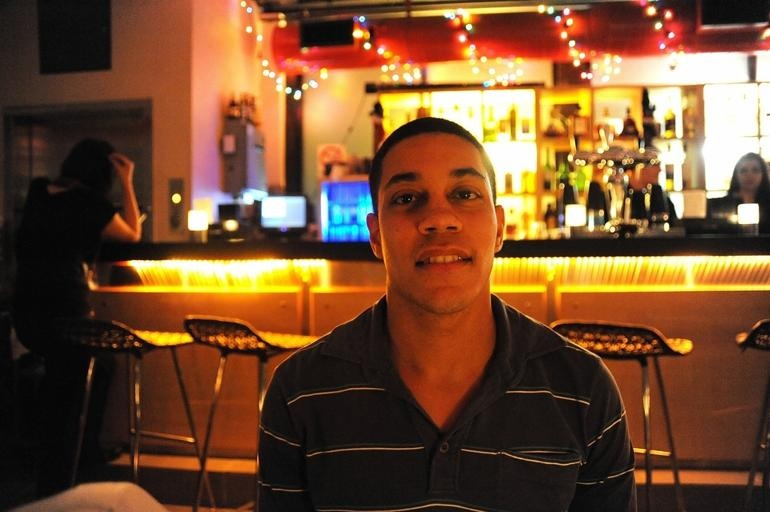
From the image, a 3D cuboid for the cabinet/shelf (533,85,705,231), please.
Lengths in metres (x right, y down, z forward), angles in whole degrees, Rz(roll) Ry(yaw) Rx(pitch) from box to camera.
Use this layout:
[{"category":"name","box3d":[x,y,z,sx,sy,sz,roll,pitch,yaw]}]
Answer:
[{"category":"cabinet/shelf","box3d":[1.831,-0.749,7.631,1.188,1.194,0.371,-1,-5,10]}]

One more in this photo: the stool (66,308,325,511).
[{"category":"stool","box3d":[-1.202,0.951,5.980,1.165,1.006,0.487,1,3,20]}]

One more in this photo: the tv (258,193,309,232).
[{"category":"tv","box3d":[-0.841,-0.352,8.195,0.405,0.306,0.098,1,8,-16]}]
